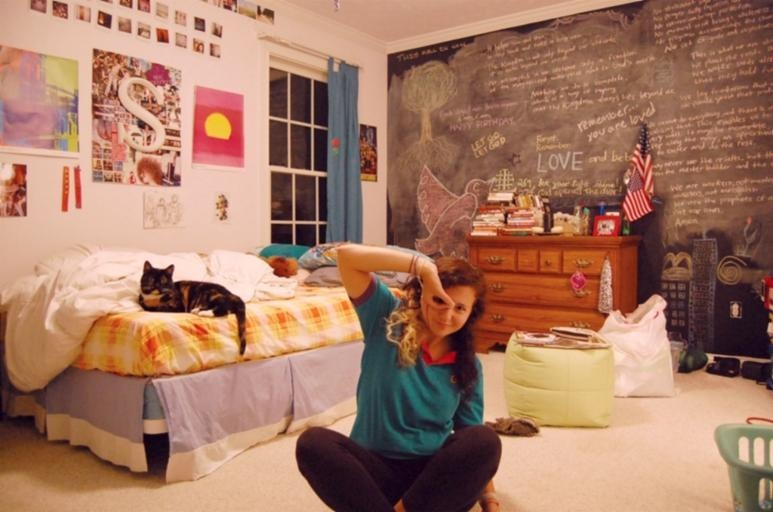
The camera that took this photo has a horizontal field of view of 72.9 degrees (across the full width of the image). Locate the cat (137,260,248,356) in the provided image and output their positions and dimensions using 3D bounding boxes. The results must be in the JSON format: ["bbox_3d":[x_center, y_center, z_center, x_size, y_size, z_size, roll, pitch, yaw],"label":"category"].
[{"bbox_3d":[-1.365,0.302,3.874,0.813,0.419,0.509,10,7,-2],"label":"cat"}]

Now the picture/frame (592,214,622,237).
[{"bbox_3d":[2.326,-0.326,5.543,0.246,0.252,0.095,5,3,33],"label":"picture/frame"}]

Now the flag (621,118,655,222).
[{"bbox_3d":[2.649,-0.906,5.557,0.265,1.045,0.226,2,4,24],"label":"flag"}]

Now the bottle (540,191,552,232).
[{"bbox_3d":[1.791,-0.474,5.904,0.075,0.312,0.325,-3,-4,26],"label":"bottle"}]

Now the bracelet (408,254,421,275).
[{"bbox_3d":[0.138,0.040,2.630,0.082,0.077,0.081,7,-23,-6],"label":"bracelet"}]
